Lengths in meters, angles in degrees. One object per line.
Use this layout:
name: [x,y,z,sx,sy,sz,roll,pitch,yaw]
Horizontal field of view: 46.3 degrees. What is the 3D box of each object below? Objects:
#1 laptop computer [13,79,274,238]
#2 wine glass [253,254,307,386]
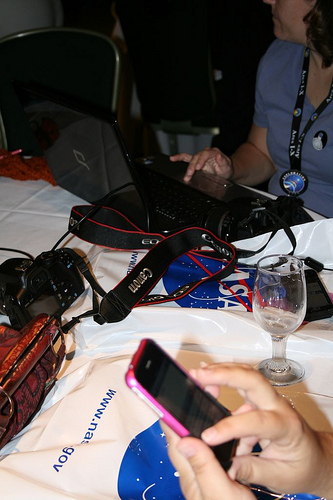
laptop computer: [-0.044,-0.219,0.940,0.454,0.299,0.426,-22,35,-30]
wine glass: [0.157,0.100,0.544,0.075,0.158,0.066,-2,10,2]
